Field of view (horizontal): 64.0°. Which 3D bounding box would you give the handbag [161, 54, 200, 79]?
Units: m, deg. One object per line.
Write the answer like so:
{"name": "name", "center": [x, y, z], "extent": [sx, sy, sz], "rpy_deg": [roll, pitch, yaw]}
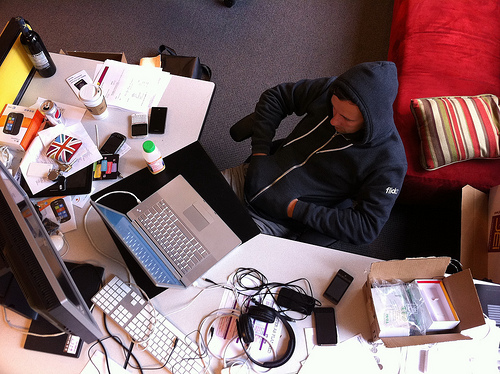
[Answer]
{"name": "handbag", "center": [-0.455, -0.794, 2.645], "extent": [0.216, 0.069, 0.232], "rpy_deg": [-3, 64, -2]}

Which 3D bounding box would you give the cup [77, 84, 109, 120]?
{"name": "cup", "center": [-0.799, -0.419, 2.028], "extent": [0.094, 0.144, 0.099], "rpy_deg": [1, 75, -4]}

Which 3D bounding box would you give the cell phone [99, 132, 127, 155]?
{"name": "cell phone", "center": [-0.691, -0.209, 2.020], "extent": [0.075, 0.027, 0.136], "rpy_deg": [30, 76, 7]}

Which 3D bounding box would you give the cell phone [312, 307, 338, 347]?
{"name": "cell phone", "center": [0.340, 0.626, 1.804], "extent": [0.095, 0.080, 0.138], "rpy_deg": [0, 46, -6]}

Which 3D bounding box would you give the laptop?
{"name": "laptop", "center": [-0.339, 0.225, 1.857], "extent": [0.461, 0.321, 0.526], "rpy_deg": [-37, 79, -4]}

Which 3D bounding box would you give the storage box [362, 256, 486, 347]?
{"name": "storage box", "center": [0.746, 0.462, 1.645], "extent": [0.449, 0.214, 0.370], "rpy_deg": [-10, 78, -5]}

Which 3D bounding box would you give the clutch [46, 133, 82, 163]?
{"name": "clutch", "center": [-0.916, -0.195, 1.974], "extent": [0.136, 0.042, 0.142], "rpy_deg": [28, 62, 10]}

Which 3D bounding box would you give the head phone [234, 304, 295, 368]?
{"name": "head phone", "center": [0.073, 0.655, 1.760], "extent": [0.274, 0.169, 0.213], "rpy_deg": [19, 47, 12]}

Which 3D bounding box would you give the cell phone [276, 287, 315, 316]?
{"name": "cell phone", "center": [0.208, 0.518, 1.814], "extent": [0.156, 0.048, 0.097], "rpy_deg": [18, 83, 5]}

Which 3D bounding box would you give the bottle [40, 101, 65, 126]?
{"name": "bottle", "center": [-1.000, -0.361, 2.017], "extent": [0.061, 0.107, 0.064], "rpy_deg": [0, 63, 0]}
